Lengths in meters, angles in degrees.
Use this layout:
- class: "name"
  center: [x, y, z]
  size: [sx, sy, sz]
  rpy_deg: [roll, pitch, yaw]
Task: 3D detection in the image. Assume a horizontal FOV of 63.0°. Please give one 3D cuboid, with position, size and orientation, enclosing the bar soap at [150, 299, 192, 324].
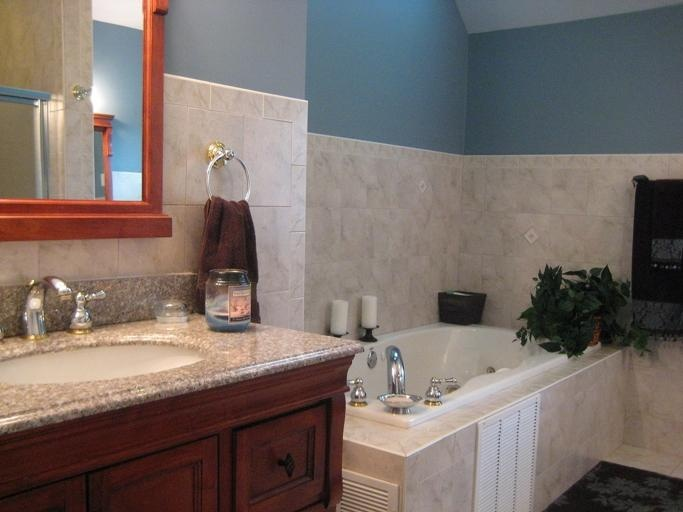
- class: "bar soap"
  center: [-0.531, 0.171, 1.738]
  size: [0.091, 0.067, 0.057]
  rpy_deg: [2, 8, -19]

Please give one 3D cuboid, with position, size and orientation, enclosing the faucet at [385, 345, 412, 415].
- class: "faucet"
  center: [0.223, 0.490, 2.268]
  size: [0.088, 0.205, 0.241]
  rpy_deg: [4, 7, 6]

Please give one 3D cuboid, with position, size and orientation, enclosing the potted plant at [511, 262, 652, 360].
- class: "potted plant"
  center: [1.416, 0.188, 3.274]
  size: [0.653, 0.462, 0.568]
  rpy_deg: [-4, 6, -29]

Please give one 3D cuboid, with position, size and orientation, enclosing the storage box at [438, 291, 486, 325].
- class: "storage box"
  center: [0.828, 0.342, 3.803]
  size: [0.264, 0.197, 0.223]
  rpy_deg: [1, 1, 42]

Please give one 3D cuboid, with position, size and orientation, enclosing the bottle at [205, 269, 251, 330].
- class: "bottle"
  center: [-0.320, 0.128, 1.673]
  size: [0.162, 0.190, 0.166]
  rpy_deg: [0, -3, -5]

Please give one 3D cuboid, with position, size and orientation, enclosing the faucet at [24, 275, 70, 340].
- class: "faucet"
  center: [-0.820, 0.139, 1.535]
  size: [0.093, 0.168, 0.194]
  rpy_deg: [-2, 9, -39]

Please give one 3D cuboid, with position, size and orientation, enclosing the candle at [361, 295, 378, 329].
- class: "candle"
  center: [0.153, 0.318, 3.212]
  size: [0.109, 0.184, 0.072]
  rpy_deg: [8, 8, 28]
